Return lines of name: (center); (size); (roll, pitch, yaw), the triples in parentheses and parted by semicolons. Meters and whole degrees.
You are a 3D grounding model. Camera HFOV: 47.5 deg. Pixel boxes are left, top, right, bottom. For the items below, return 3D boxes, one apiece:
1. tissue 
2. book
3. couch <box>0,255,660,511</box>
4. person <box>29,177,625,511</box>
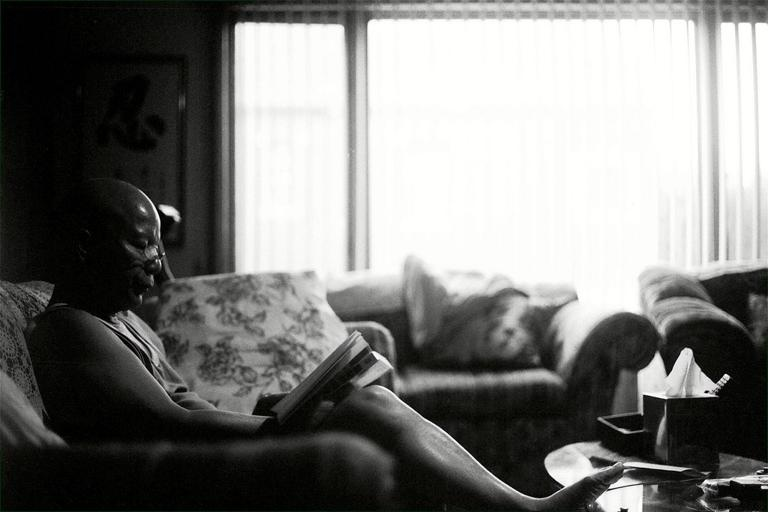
tissue : (0.853, 0.426, 2.478); (0.169, 0.302, 0.176); (-7, -3, -5)
book: (-0.135, 0.328, 2.194); (0.235, 0.061, 0.262); (-36, -12, -14)
couch: (-0.207, 0.349, 2.116); (1.184, 0.327, 0.575); (11, -7, -1)
person: (-0.130, 0.313, 2.564); (1.501, 0.940, 0.697); (3, -13, -6)
